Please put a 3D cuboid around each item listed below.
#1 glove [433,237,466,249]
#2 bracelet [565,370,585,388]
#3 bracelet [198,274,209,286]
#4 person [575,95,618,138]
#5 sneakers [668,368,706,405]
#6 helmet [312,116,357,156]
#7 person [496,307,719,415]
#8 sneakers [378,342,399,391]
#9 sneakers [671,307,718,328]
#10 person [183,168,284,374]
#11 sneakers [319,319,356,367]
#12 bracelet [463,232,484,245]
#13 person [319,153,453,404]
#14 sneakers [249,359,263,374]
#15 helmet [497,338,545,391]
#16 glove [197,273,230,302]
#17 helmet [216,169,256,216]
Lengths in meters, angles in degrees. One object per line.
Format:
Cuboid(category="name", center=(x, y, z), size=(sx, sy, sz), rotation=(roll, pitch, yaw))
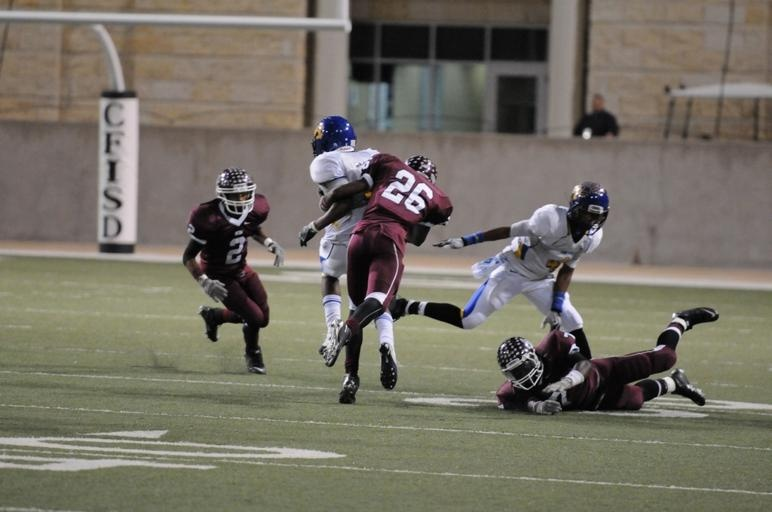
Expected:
Cuboid(category="glove", center=(0.577, -0.102, 13.412), size=(0.329, 0.085, 0.119), rotation=(1, 20, 45))
Cuboid(category="bracelet", center=(1.596, 1.036, 12.474), size=(0.159, 0.131, 0.069), rotation=(-21, -23, -17))
Cuboid(category="bracelet", center=(-1.652, 0.217, 13.239), size=(0.108, 0.084, 0.096), rotation=(-16, 0, -24))
Cuboid(category="person", center=(3.029, -1.920, 21.082), size=(0.636, 0.734, 0.456), rotation=(-1, -8, 13))
Cuboid(category="sneakers", center=(2.691, 1.168, 13.081), size=(0.360, 0.116, 0.162), rotation=(34, 20, 2))
Cuboid(category="helmet", center=(-0.430, -1.077, 13.208), size=(0.322, 0.368, 0.399), rotation=(-6, 17, -30))
Cuboid(category="person", center=(1.798, 0.918, 12.661), size=(1.572, 0.596, 0.782), rotation=(1, -39, -14))
Cuboid(category="sneakers", center=(-0.018, 0.931, 12.542), size=(0.157, 0.368, 0.196), rotation=(-7, -10, 15))
Cuboid(category="sneakers", center=(2.801, 0.559, 13.166), size=(0.373, 0.138, 0.218), rotation=(-16, 4, -11))
Cuboid(category="person", center=(-1.421, 0.112, 13.564), size=(0.890, 1.813, 0.806), rotation=(1, 13, -6))
Cuboid(category="sneakers", center=(-0.398, 0.738, 12.331), size=(0.208, 0.437, 0.165), rotation=(3, 38, -26))
Cuboid(category="bracelet", center=(0.798, -0.148, 13.347), size=(0.135, 0.042, 0.133), rotation=(-20, -5, 3))
Cuboid(category="person", center=(-0.007, 0.199, 12.758), size=(0.852, 2.084, 1.481), rotation=(6, 14, 18))
Cuboid(category="sneakers", center=(-1.188, 1.009, 13.479), size=(0.179, 0.112, 0.100), rotation=(7, 14, 24))
Cuboid(category="helmet", center=(1.138, 0.900, 12.643), size=(0.368, 0.394, 0.458), rotation=(-41, 2, 7))
Cuboid(category="glove", center=(-1.553, 0.290, 13.281), size=(0.170, 0.314, 0.115), rotation=(-47, 6, -17))
Cuboid(category="helmet", center=(-1.376, -0.559, 13.371), size=(0.349, 0.344, 0.437), rotation=(-8, 30, -21))
